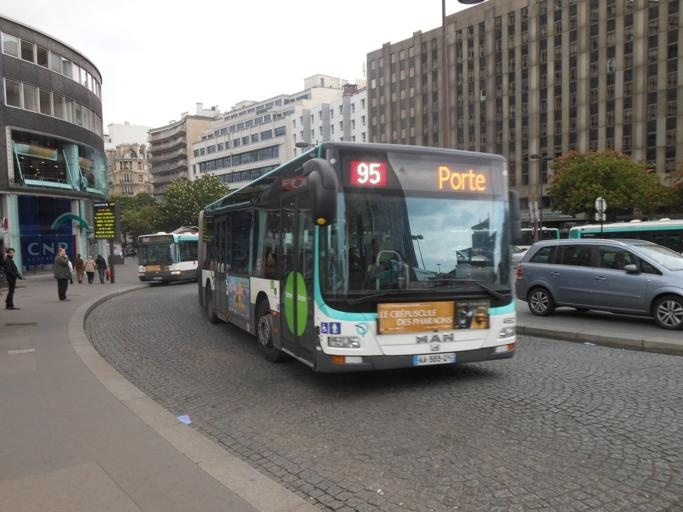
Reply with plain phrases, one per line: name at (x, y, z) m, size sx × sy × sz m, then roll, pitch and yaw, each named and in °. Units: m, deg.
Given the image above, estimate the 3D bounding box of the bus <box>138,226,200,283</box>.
bus at (-8.403, 0.017, 32.187) m, size 2.473 × 2.780 × 6.632 m, roll -1°, pitch -2°, yaw 11°

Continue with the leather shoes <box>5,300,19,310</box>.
leather shoes at (-10.024, 1.517, 17.994) m, size 0.639 × 0.281 × 0.195 m, roll -4°, pitch -5°, yaw 40°

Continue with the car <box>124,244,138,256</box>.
car at (-35.101, -0.958, 99.120) m, size 2.602 × 1.976 × 5.698 m, roll 0°, pitch -2°, yaw -28°
